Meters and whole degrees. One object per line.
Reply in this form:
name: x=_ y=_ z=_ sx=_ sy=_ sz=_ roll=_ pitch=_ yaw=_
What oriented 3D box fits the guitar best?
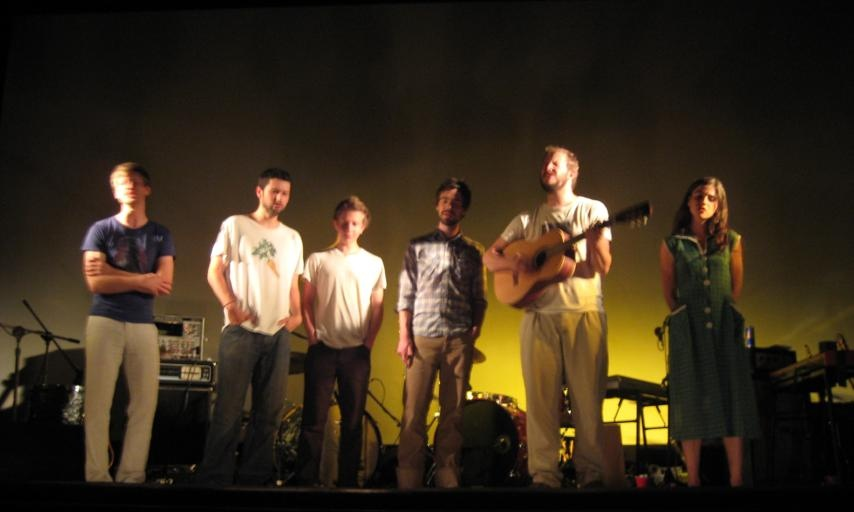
guitar: x=1.084 y=0.024 z=6.884 sx=1.661 sy=0.681 sz=0.228 roll=-27 pitch=-19 yaw=29

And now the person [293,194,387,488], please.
person: x=-0.794 y=0.765 z=7.191 sx=0.751 sy=2.572 sz=0.656 roll=3 pitch=-21 yaw=-7

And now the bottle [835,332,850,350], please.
bottle: x=4.009 y=0.825 z=7.608 sx=0.043 sy=0.151 sz=0.056 roll=-16 pitch=-13 yaw=7

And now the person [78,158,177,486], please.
person: x=-2.717 y=0.552 z=6.925 sx=0.785 sy=2.726 sz=0.670 roll=9 pitch=-23 yaw=-20

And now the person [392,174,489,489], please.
person: x=0.103 y=0.687 z=7.164 sx=0.874 sy=2.705 sz=0.625 roll=-8 pitch=-23 yaw=20

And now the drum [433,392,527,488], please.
drum: x=0.546 y=1.787 z=7.771 sx=0.818 sy=0.871 sz=0.827 roll=0 pitch=-4 yaw=13

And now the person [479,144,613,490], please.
person: x=1.170 y=0.490 z=6.927 sx=1.005 sy=2.933 sz=0.740 roll=-11 pitch=-24 yaw=27
